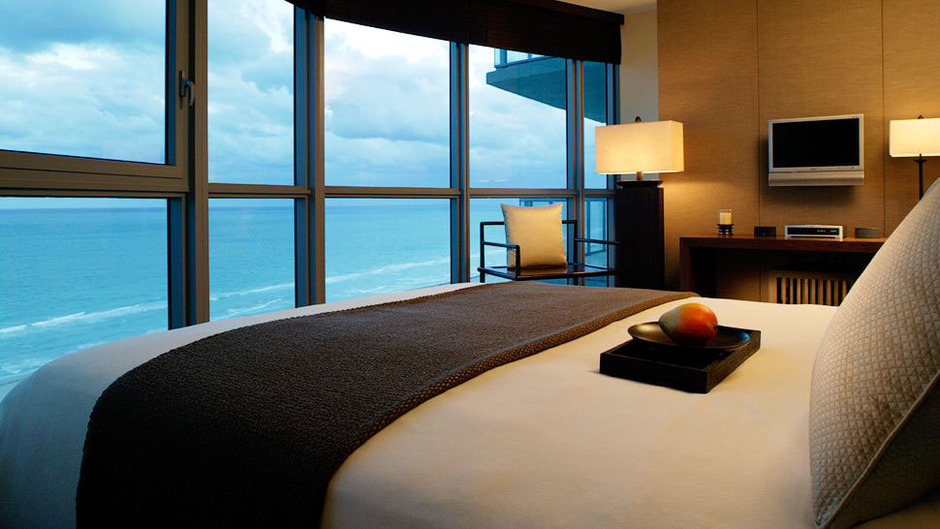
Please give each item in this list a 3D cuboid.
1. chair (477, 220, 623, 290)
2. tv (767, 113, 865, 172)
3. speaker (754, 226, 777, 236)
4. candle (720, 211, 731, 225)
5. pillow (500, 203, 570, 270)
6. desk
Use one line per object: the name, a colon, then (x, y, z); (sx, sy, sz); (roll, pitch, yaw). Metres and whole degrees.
chair: (0.607, -0.316, 4.898); (1.205, 0.743, 0.692); (-2, 4, -28)
tv: (2.644, -0.922, 4.451); (0.626, 0.410, 0.131); (3, 11, 21)
speaker: (2.319, -0.256, 4.553); (0.151, 0.074, 0.154); (2, 11, 19)
candle: (2.056, -0.372, 4.715); (0.106, 0.090, 0.099); (0, 2, 13)
pillow: (0.547, -0.220, 4.819); (0.528, 0.532, 0.380); (-2, 10, -6)
desk: (2.332, -0.039, 4.727); (1.160, 0.435, 1.421); (-1, 2, 14)
